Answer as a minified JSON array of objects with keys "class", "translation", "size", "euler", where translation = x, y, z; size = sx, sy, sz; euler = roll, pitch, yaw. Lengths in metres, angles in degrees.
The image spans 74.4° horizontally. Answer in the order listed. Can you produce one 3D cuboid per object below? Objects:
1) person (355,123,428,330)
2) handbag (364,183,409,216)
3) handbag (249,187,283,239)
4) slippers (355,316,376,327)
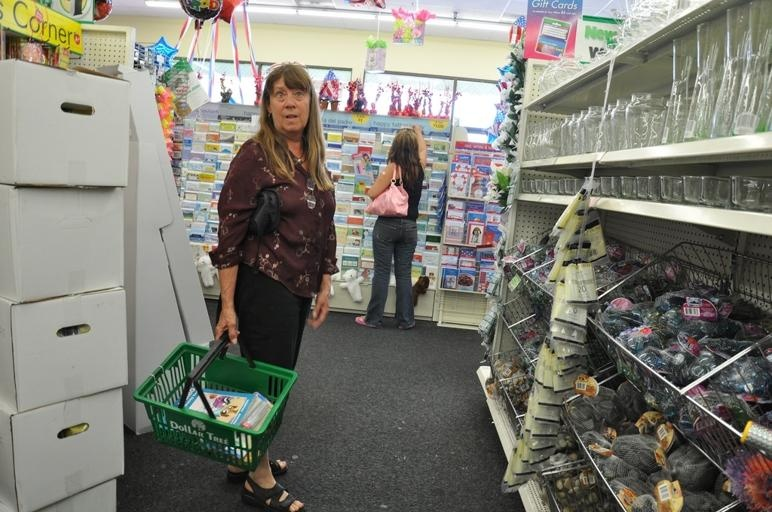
[{"class":"person","translation":[0.064,-0.258,5.060],"size":[0.574,1.978,0.284],"euler":[4,12,-3]},{"class":"handbag","translation":[0.025,-0.545,4.900],"size":[0.290,0.346,0.144],"euler":[12,13,22]},{"class":"handbag","translation":[-0.526,-0.189,2.251],"size":[0.072,0.187,0.155],"euler":[9,-18,-39]},{"class":"slippers","translation":[-0.219,0.679,5.201],"size":[0.198,0.087,0.092],"euler":[16,3,14]}]
